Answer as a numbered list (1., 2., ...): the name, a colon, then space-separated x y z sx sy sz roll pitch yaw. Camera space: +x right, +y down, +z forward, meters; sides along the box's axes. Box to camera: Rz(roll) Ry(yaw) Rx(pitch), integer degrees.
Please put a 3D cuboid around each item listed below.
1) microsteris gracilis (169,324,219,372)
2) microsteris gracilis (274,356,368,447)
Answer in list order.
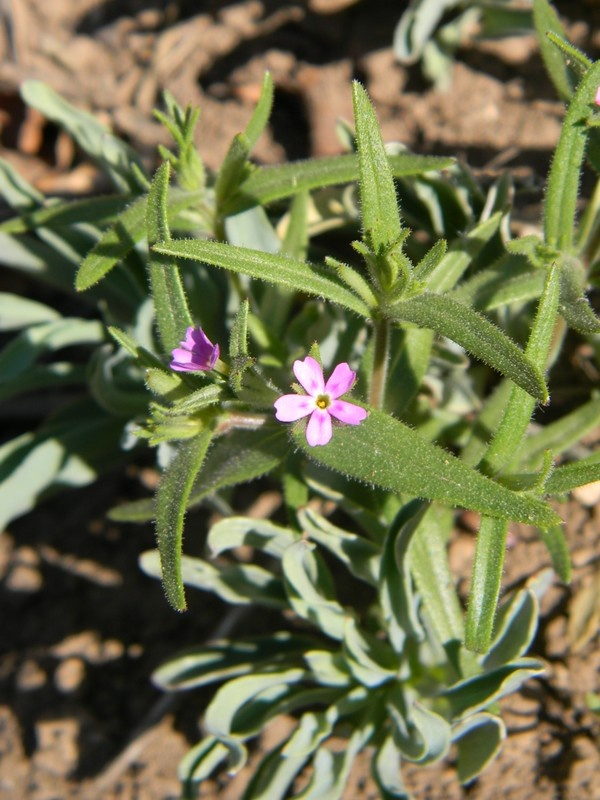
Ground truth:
1. microsteris gracilis: -0.203 -0.097 1.534 0.097 0.163 0.097 1 77 -1
2. microsteris gracilis: 0.042 0.006 1.451 0.196 0.054 0.160 10 101 33
